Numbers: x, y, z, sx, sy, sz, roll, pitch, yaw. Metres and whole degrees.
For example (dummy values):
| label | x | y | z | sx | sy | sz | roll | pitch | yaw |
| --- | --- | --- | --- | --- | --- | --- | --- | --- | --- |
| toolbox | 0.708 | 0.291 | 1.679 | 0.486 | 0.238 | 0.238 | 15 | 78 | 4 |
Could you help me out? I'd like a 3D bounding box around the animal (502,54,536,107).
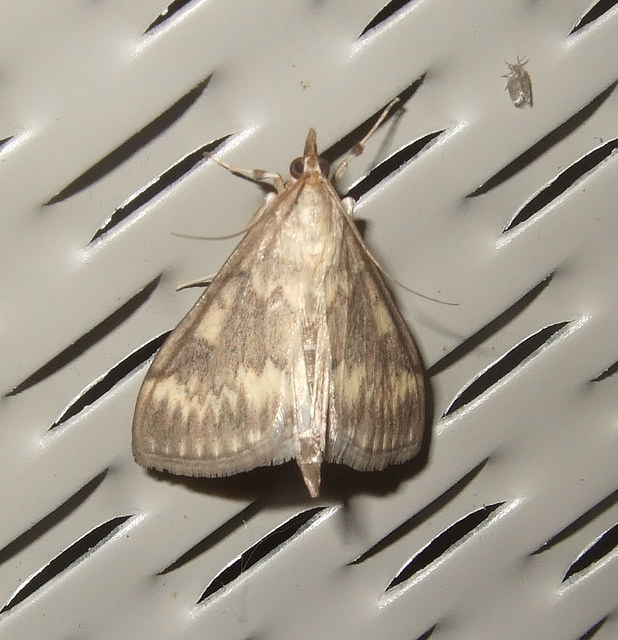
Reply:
| label | x | y | z | sx | sy | sz | roll | pitch | yaw |
| --- | --- | --- | --- | --- | --- | --- | --- | --- | --- |
| animal | 0.512 | -0.567 | 2.610 | 0.075 | 0.111 | 0.041 | -3 | 10 | 2 |
